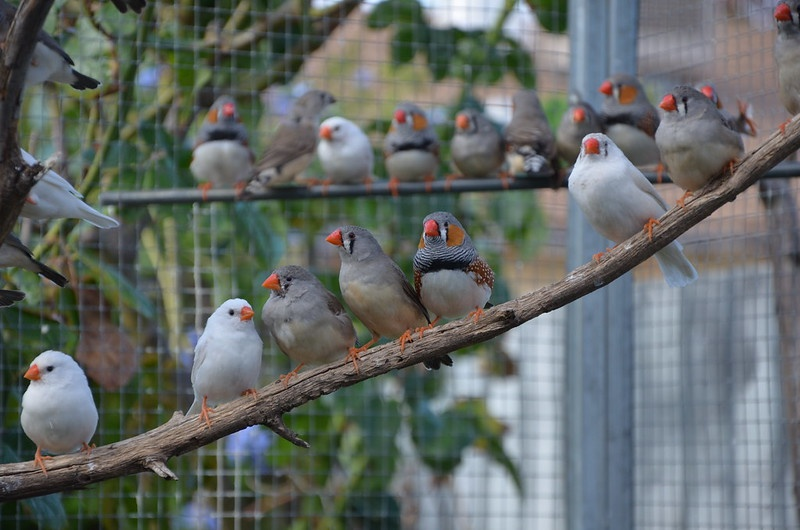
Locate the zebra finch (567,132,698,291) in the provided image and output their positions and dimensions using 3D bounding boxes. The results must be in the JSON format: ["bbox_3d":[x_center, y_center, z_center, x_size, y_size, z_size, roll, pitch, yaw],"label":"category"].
[{"bbox_3d":[1.295,-0.328,7.830,0.768,0.797,0.414,11,-23,-37],"label":"zebra finch"}]

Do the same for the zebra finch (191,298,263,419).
[{"bbox_3d":[-1.039,0.520,8.084,0.379,0.687,0.648,-2,1,-30],"label":"zebra finch"}]

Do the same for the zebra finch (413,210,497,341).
[{"bbox_3d":[0.272,0.019,7.782,0.360,0.576,0.290,-2,21,36],"label":"zebra finch"}]

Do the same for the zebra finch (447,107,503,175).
[{"bbox_3d":[0.491,-0.765,8.863,0.357,0.505,0.532,1,12,19],"label":"zebra finch"}]

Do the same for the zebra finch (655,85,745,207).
[{"bbox_3d":[1.627,-0.679,7.596,0.374,0.517,0.457,-21,18,-17],"label":"zebra finch"}]

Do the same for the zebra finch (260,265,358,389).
[{"bbox_3d":[-0.454,0.291,8.072,0.415,0.650,0.724,-9,-4,40],"label":"zebra finch"}]

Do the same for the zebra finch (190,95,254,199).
[{"bbox_3d":[-1.110,-0.768,8.836,0.397,0.625,0.669,1,7,-12],"label":"zebra finch"}]

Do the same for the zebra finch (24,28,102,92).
[{"bbox_3d":[-1.900,-1.096,7.814,0.475,0.208,0.167,24,-11,-9],"label":"zebra finch"}]
